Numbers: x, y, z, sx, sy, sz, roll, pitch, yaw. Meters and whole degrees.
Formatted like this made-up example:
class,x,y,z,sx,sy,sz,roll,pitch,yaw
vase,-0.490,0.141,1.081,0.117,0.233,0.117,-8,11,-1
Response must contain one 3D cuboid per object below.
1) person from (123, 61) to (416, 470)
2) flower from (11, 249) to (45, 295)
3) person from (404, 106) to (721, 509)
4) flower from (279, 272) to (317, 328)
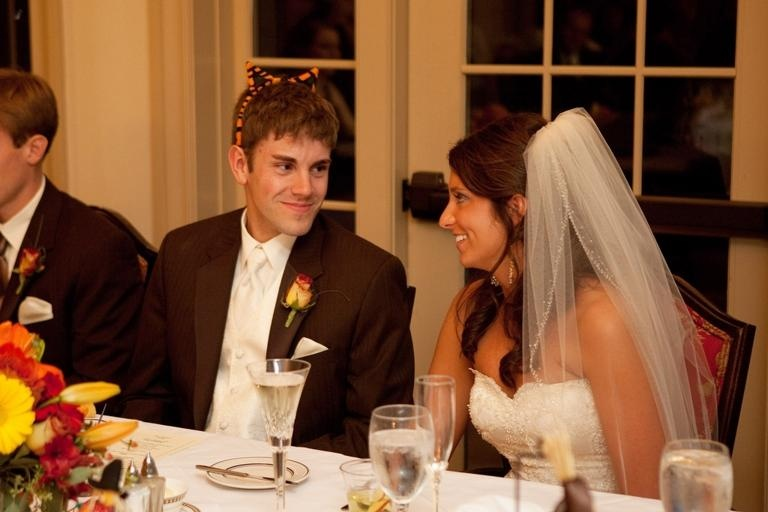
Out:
class,x,y,z,sx,sy,sz,roll,pitch,yaw
person,-0.438,0.099,2.801,1.083,1.470,0.799,5,10,3
flower,-1.423,0.070,3.043,0.077,0.154,0.094,30,13,-26
person,0.655,0.370,2.877,0.759,1.721,1.213,-2,1,-36
flower,-0.304,0.150,2.727,0.109,0.185,0.087,18,8,-2
